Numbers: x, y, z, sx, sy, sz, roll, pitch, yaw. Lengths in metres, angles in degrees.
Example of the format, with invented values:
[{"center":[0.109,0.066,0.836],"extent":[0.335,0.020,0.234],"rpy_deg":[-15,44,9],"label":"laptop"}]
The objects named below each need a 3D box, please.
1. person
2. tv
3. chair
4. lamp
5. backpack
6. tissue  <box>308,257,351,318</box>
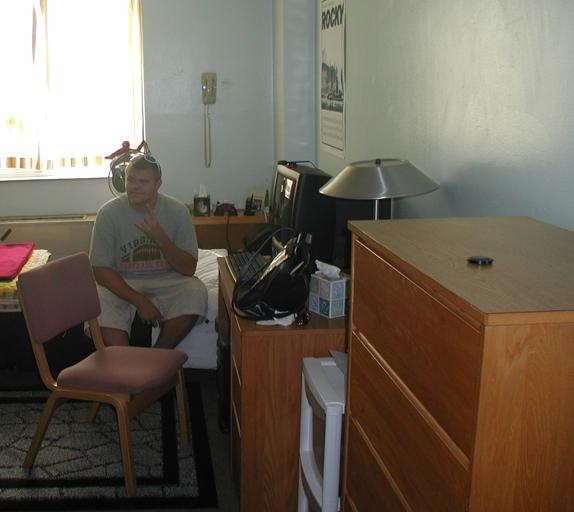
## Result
[{"center":[-0.723,-0.014,2.554],"extent":[0.563,1.040,0.917],"rpy_deg":[-2,14,-16],"label":"person"},{"center":[0.118,-0.210,2.281],"extent":[0.267,0.323,0.299],"rpy_deg":[5,8,-26],"label":"tv"},{"center":[-0.788,0.468,2.167],"extent":[0.548,0.907,0.514],"rpy_deg":[1,8,12],"label":"chair"},{"center":[0.283,-0.226,1.612],"extent":[0.247,0.188,0.267],"rpy_deg":[-5,16,-9],"label":"lamp"},{"center":[-0.053,0.059,1.763],"extent":[0.277,0.317,0.324],"rpy_deg":[2,14,1],"label":"backpack"},{"center":[0.137,0.114,1.806],"extent":[0.158,0.177,0.175],"rpy_deg":[12,23,0],"label":"tissue "}]
